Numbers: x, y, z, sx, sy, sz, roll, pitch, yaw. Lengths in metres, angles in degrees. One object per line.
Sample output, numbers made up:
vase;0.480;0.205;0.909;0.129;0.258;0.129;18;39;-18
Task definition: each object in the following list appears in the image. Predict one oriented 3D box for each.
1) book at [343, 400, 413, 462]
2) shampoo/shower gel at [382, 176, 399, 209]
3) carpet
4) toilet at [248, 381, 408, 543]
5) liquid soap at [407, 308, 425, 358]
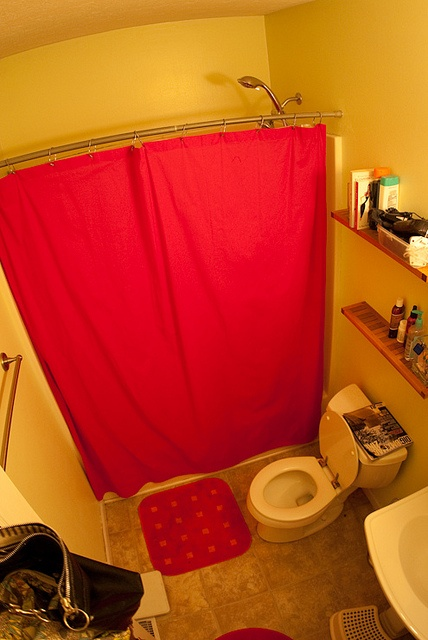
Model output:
book;0.788;0.543;2.264;0.245;0.110;0.279;-11;28;-8
shampoo/shower gel;0.661;-0.482;1.740;0.072;0.131;0.041;-25;41;-10
carpet;-0.127;1.220;2.785;0.599;0.081;0.560;-13;28;-12
toilet;0.611;0.761;2.482;0.675;0.752;0.446;-18;52;-11
liquid soap;0.778;0.059;1.796;0.055;0.173;0.130;7;30;26
